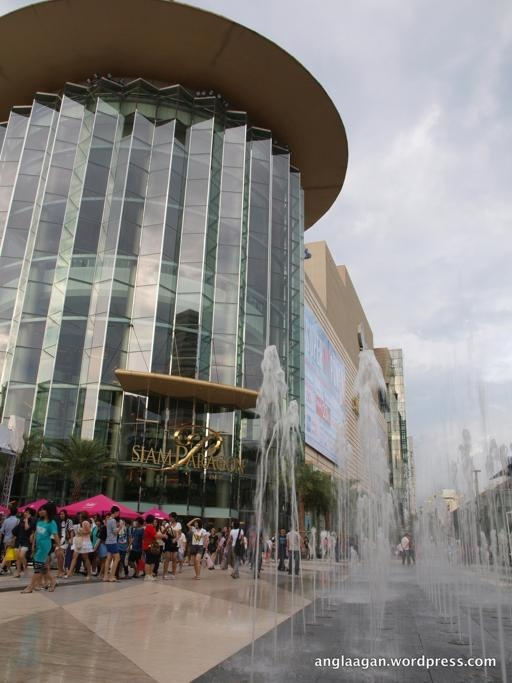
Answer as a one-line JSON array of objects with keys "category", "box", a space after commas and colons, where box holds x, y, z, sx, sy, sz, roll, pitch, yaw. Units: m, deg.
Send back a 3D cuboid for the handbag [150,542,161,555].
[{"category": "handbag", "box": [-2.627, 5.370, 11.542, 0.203, 0.489, 0.314, -4, -15, 0]}]
